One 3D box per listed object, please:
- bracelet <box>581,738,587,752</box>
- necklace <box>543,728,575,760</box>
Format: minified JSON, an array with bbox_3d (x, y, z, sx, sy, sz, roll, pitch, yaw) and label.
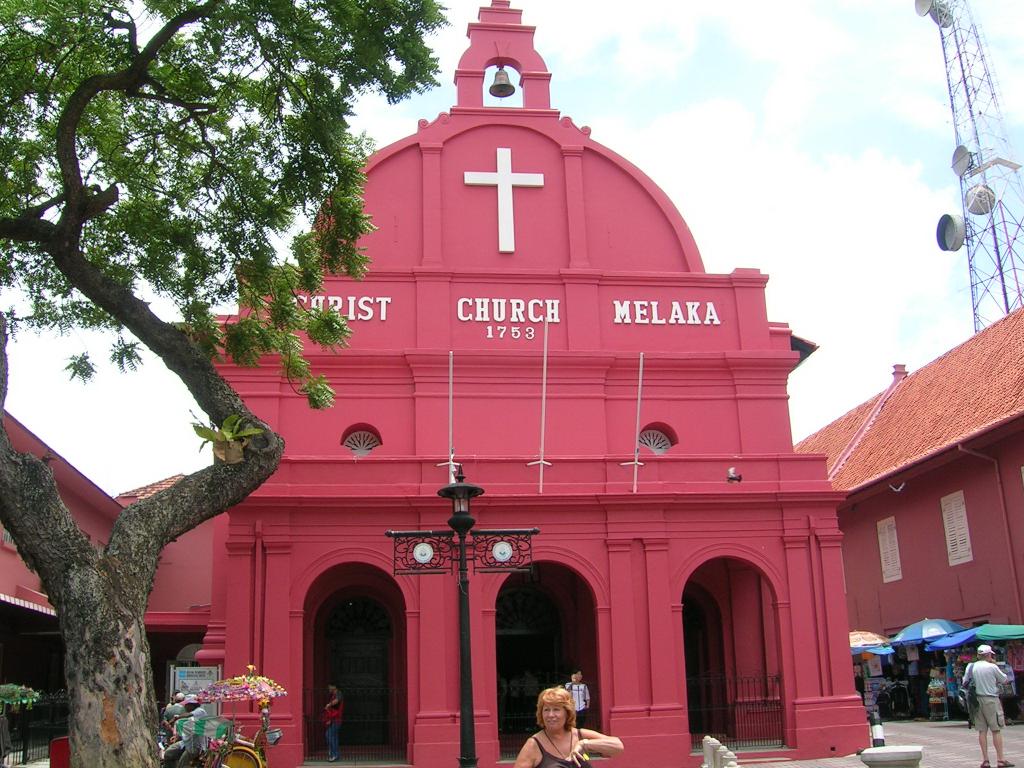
[{"bbox_3d":[0.588,2.992,8.270,0.065,0.090,0.051,1,-18,-2],"label":"bracelet"},{"bbox_3d":[0.377,2.986,8.271,0.214,0.276,0.158,2,-42,-4],"label":"necklace"}]
